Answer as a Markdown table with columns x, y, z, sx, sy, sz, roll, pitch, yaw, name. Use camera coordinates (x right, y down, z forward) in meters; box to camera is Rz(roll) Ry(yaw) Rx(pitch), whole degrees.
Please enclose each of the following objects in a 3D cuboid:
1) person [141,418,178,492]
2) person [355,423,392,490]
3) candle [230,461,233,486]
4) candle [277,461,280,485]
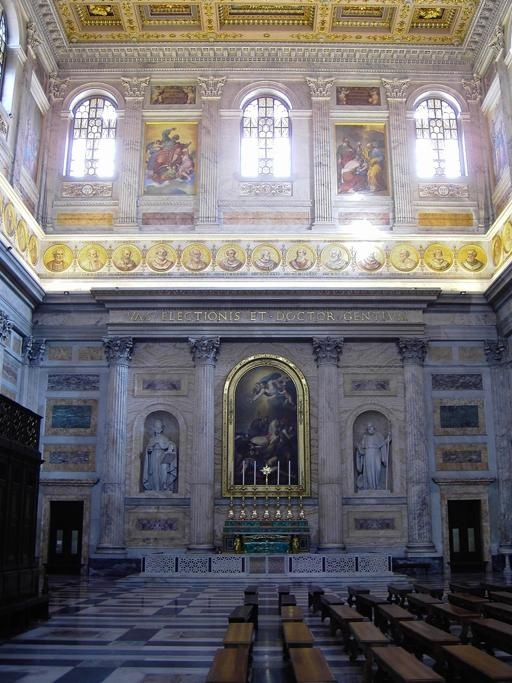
| x | y | z | sx | sy | sz | roll | pitch | yaw | name |
| --- | --- | --- | --- | --- | --- | --- | --- | --- | --- |
| -2.769 | 3.267 | 17.713 | 1.002 | 2.163 | 0.267 | 1 | -17 | -11 | person |
| 3.403 | 3.317 | 17.605 | 1.096 | 1.886 | 0.318 | -4 | -17 | 7 | person |
| -0.670 | 3.774 | 17.424 | 0.134 | 0.616 | 0.058 | 12 | -22 | -39 | candle |
| 0.651 | 3.722 | 17.409 | 0.075 | 0.673 | 0.118 | -11 | -19 | 27 | candle |
